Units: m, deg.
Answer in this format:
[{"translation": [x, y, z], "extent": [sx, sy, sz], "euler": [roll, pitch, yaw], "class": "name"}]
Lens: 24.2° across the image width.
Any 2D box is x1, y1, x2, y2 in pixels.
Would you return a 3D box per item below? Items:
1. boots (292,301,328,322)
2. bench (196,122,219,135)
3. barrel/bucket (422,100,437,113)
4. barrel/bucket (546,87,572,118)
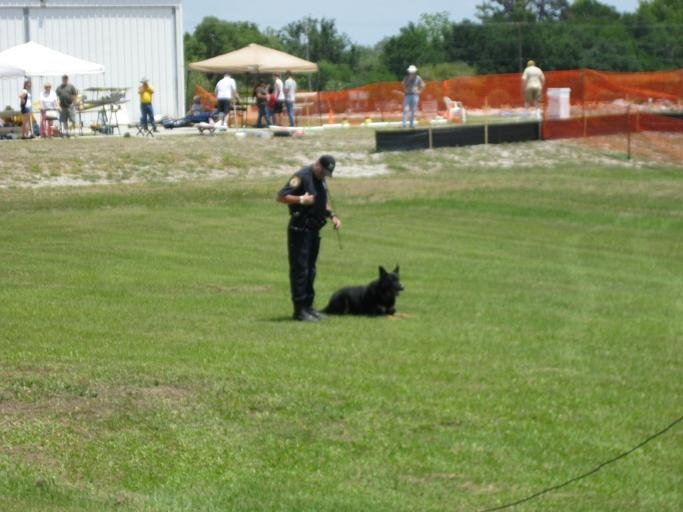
[{"translation": [-0.735, 1.458, 40.203], "extent": [0.854, 0.587, 0.307], "euler": [-4, 5, -7], "class": "boots"}, {"translation": [-4.794, -4.621, 58.017], "extent": [0.755, 0.415, 1.592], "euler": [-3, 9, -5], "class": "bench"}, {"translation": [4.097, -6.766, 72.869], "extent": [0.683, 0.670, 0.509], "euler": [3, 21, 3], "class": "barrel/bucket"}, {"translation": [8.814, -6.160, 64.658], "extent": [0.926, 1.157, 2.104], "euler": [-1, 8, 6], "class": "barrel/bucket"}]
